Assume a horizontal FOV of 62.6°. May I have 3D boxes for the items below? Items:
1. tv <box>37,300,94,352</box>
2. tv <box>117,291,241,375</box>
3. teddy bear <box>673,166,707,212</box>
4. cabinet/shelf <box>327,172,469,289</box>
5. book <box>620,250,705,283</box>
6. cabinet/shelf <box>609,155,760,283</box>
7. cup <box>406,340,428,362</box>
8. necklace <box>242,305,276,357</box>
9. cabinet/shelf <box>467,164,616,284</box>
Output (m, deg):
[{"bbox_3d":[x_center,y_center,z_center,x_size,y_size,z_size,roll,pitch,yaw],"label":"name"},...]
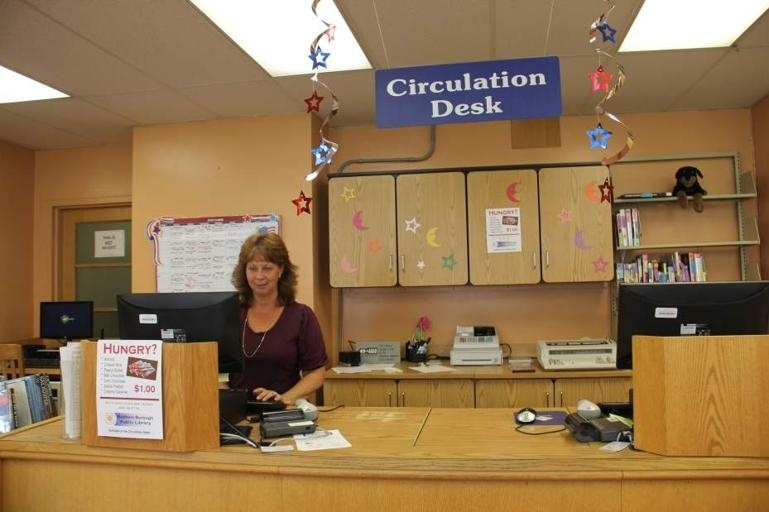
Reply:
[{"bbox_3d":[-2.757,0.595,5.482,0.494,0.338,0.139,0,0,8],"label":"tv"},{"bbox_3d":[-1.094,0.405,3.336,0.483,0.332,0.139,0,1,1],"label":"tv"},{"bbox_3d":[2.588,-0.575,5.383,0.312,0.396,0.272,-3,-5,13],"label":"teddy bear"},{"bbox_3d":[0.157,-0.213,5.387,1.035,0.775,0.383,1,1,1],"label":"cabinet/shelf"},{"bbox_3d":[2.336,0.090,5.321,0.736,0.248,0.427,-3,-5,17],"label":"book"},{"bbox_3d":[2.588,-0.277,5.360,1.172,1.235,0.374,0,-2,3],"label":"cabinet/shelf"},{"bbox_3d":[0.286,0.835,5.569,0.175,0.187,0.125,-1,-5,-8],"label":"cup"},{"bbox_3d":[-0.783,0.486,3.975,0.166,0.286,0.053,2,-15,11],"label":"necklace"},{"bbox_3d":[1.319,-0.255,5.252,1.030,1.002,0.408,-1,-5,6],"label":"cabinet/shelf"}]
